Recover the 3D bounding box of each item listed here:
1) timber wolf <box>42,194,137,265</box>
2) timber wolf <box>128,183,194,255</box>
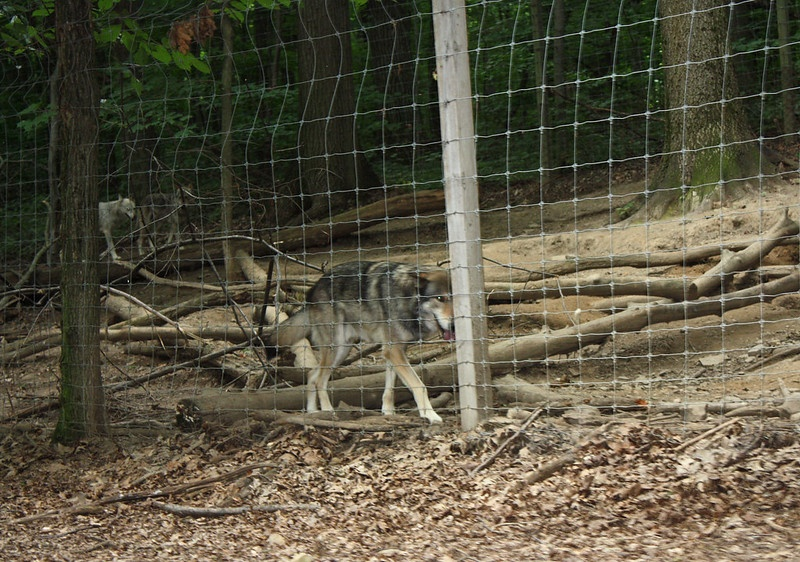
[{"bbox_3d":[-5.705,-0.927,29.261,0.459,1.110,1.944,9,-13,-43],"label":"timber wolf"},{"bbox_3d":[-4.167,-1.137,27.655,0.452,1.237,2.034,-10,11,-40],"label":"timber wolf"}]
